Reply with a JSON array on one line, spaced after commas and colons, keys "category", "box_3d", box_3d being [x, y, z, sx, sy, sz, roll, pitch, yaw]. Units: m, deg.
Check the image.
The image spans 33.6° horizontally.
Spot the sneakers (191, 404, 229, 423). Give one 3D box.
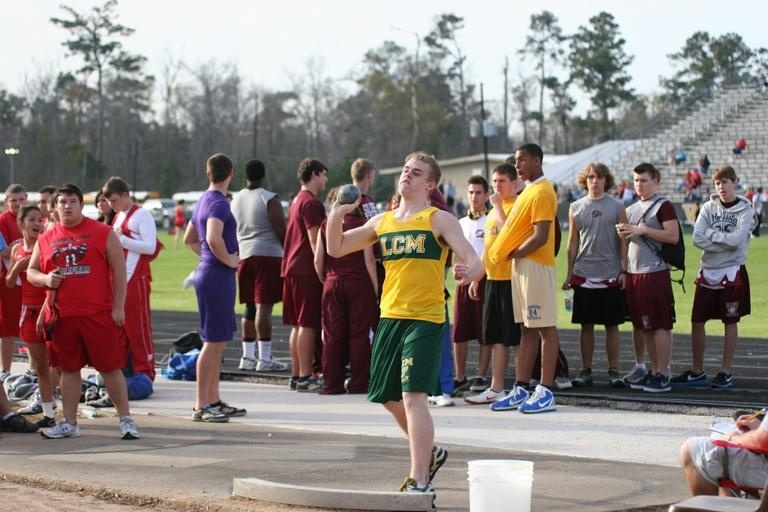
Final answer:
[{"category": "sneakers", "box_3d": [-2.228, 2.034, 16.361, 0.455, 0.180, 0.197, 1, -3, 5]}]

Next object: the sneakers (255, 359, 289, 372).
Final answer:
[{"category": "sneakers", "box_3d": [-1.614, 1.590, 18.639, 0.518, 0.192, 0.182, 0, 1, -31]}]

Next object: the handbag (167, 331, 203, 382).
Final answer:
[{"category": "handbag", "box_3d": [-2.892, 1.476, 18.458, 0.588, 0.714, 0.261, -3, -21, 32]}]

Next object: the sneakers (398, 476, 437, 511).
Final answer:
[{"category": "sneakers", "box_3d": [0.356, 2.545, 13.834, 0.594, 0.254, 0.200, 14, -16, -31]}]

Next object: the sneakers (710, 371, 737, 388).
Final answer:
[{"category": "sneakers", "box_3d": [4.482, 1.669, 17.014, 0.150, 0.145, 0.388, -4, -6, 36]}]

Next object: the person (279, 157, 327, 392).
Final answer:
[{"category": "person", "box_3d": [-1.078, 0.242, 17.579, 0.550, 3.249, 0.766, -1, -1, -21]}]

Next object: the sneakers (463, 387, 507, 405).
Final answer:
[{"category": "sneakers", "box_3d": [1.314, 1.856, 16.776, 0.579, 0.213, 0.197, -2, -6, -1]}]

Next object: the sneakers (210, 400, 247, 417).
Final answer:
[{"category": "sneakers", "box_3d": [-1.994, 1.965, 16.399, 0.487, 0.180, 0.170, 3, 0, -5]}]

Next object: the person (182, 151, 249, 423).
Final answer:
[{"category": "person", "box_3d": [-2.165, 0.412, 16.272, 0.613, 3.428, 0.496, -2, -1, -3]}]

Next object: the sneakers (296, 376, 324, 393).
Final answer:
[{"category": "sneakers", "box_3d": [-1.029, 1.772, 17.582, 0.380, 0.163, 0.171, -1, -2, 9]}]

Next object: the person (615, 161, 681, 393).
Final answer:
[{"category": "person", "box_3d": [3.524, 0.270, 17.059, 0.796, 3.050, 0.663, -2, -1, 20]}]

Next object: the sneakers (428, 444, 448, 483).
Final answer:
[{"category": "sneakers", "box_3d": [0.576, 2.282, 14.229, 0.161, 0.447, 0.208, 24, 12, 4]}]

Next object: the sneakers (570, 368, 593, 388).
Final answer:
[{"category": "sneakers", "box_3d": [2.690, 1.672, 17.381, 0.392, 0.166, 0.155, 5, -8, -43]}]

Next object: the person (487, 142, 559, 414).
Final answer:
[{"category": "person", "box_3d": [1.819, 0.272, 16.482, 0.807, 3.492, 0.500, -2, -1, 7]}]

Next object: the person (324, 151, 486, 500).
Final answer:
[{"category": "person", "box_3d": [0.273, 0.712, 14.144, 1.584, 3.705, 0.524, -2, -1, -1]}]

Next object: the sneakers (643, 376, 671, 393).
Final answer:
[{"category": "sneakers", "box_3d": [3.557, 1.667, 16.787, 0.346, 0.249, 0.193, -2, -1, 9]}]
